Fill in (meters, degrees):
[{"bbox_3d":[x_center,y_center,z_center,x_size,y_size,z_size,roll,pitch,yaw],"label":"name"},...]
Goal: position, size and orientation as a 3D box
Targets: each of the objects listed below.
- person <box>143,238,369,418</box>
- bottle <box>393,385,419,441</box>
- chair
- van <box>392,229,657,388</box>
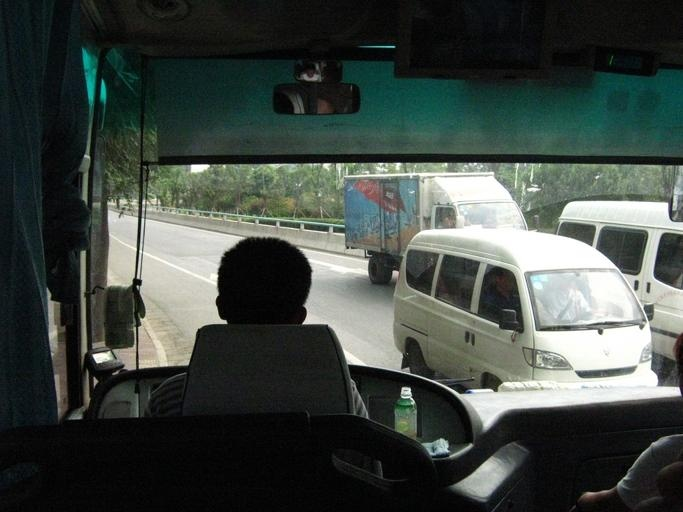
[{"bbox_3d":[-0.370,0.357,2.247,0.822,0.841,0.433,14,9,-8],"label":"person"},{"bbox_3d":[0.317,0.785,2.691,0.160,0.260,0.165,-2,2,0],"label":"bottle"},{"bbox_3d":[-0.267,0.307,1.956,0.538,0.389,0.422,-1,23,-12],"label":"chair"},{"bbox_3d":[1.153,0.421,3.667,1.074,1.036,1.738,0,5,-24],"label":"van"}]
